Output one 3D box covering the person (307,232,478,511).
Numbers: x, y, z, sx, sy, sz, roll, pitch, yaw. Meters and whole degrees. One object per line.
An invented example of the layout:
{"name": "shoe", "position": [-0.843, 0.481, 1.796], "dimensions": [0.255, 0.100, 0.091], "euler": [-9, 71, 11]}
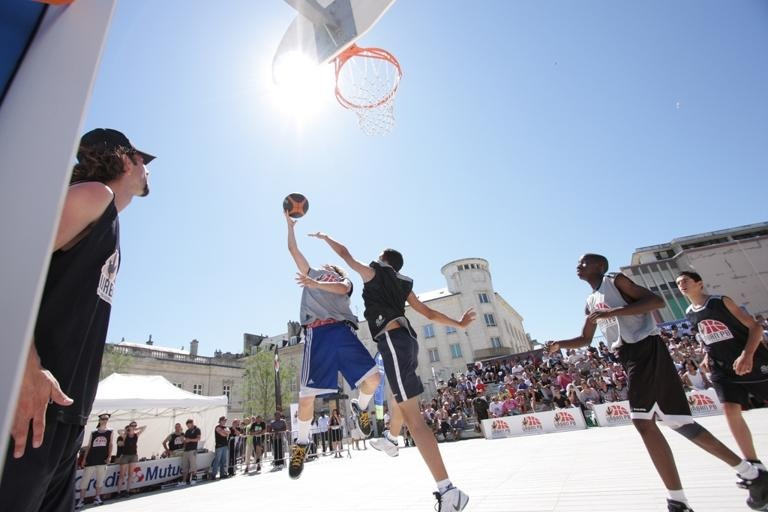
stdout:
{"name": "person", "position": [0.138, 0.979, 3.451], "dimensions": [0.956, 2.574, 1.363], "euler": [-12, -24, 9]}
